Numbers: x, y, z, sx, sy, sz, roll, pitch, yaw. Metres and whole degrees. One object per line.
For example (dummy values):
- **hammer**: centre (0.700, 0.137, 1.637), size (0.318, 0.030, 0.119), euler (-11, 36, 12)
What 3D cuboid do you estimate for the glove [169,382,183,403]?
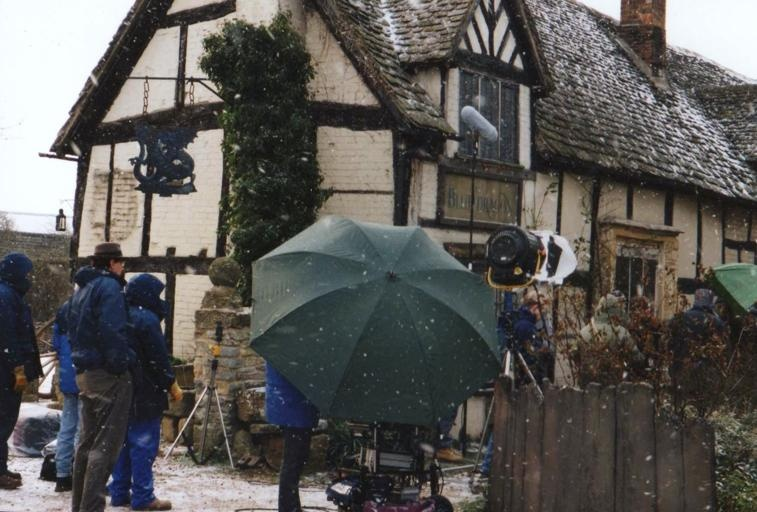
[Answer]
- **glove**: centre (-3.120, 2.158, 23.048), size (0.223, 0.328, 0.099), euler (11, 10, 35)
